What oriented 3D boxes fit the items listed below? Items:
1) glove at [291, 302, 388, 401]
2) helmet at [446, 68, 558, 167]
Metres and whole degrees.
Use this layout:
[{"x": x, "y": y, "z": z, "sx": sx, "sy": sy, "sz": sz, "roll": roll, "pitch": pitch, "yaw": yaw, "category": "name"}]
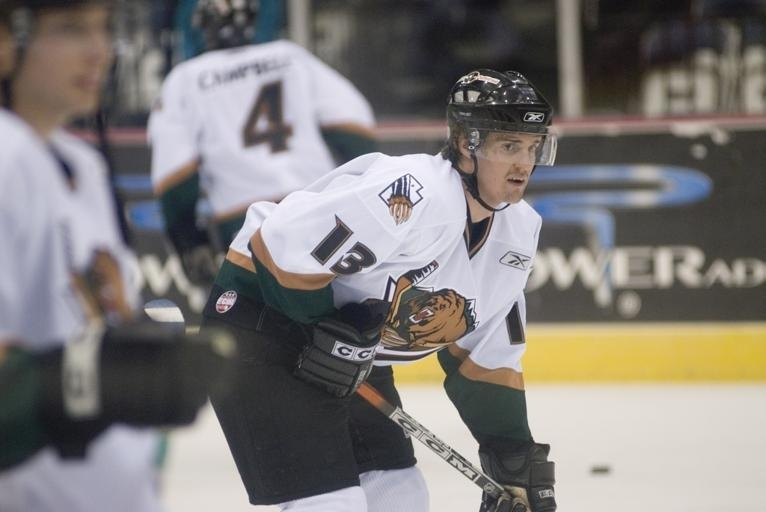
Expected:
[{"x": -0.160, "y": 0.354, "z": 5.538, "sx": 0.309, "sy": 0.288, "sz": 0.233, "roll": 17, "pitch": 20, "yaw": -13, "category": "glove"}, {"x": 0.457, "y": -0.531, "z": 5.814, "sx": 0.372, "sy": 0.397, "sz": 0.446, "roll": -2, "pitch": 5, "yaw": -43, "category": "helmet"}]
